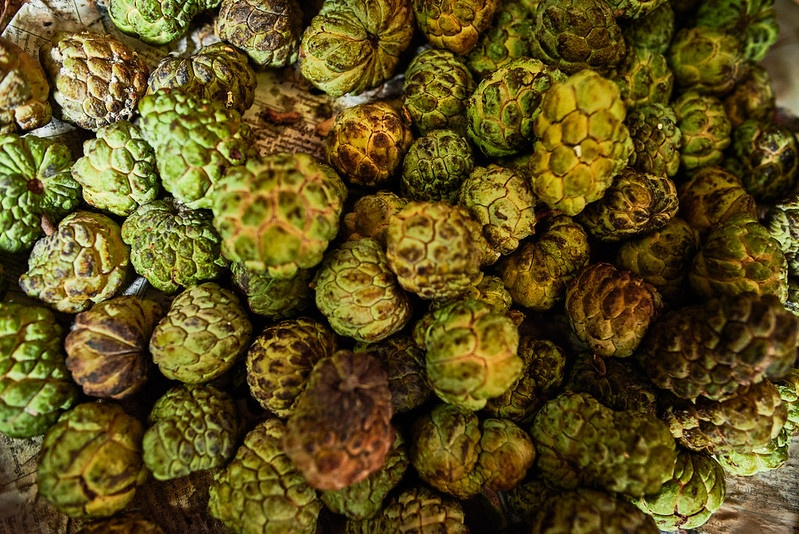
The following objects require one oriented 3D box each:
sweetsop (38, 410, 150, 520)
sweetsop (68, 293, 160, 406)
[{"bbox_3d":[-1.678,1.081,4.308,0.560,0.513,0.394,-10,31,-27],"label":"sweetsop"},{"bbox_3d":[-1.609,0.470,4.459,0.526,0.482,0.312,-5,29,-18],"label":"sweetsop"}]
